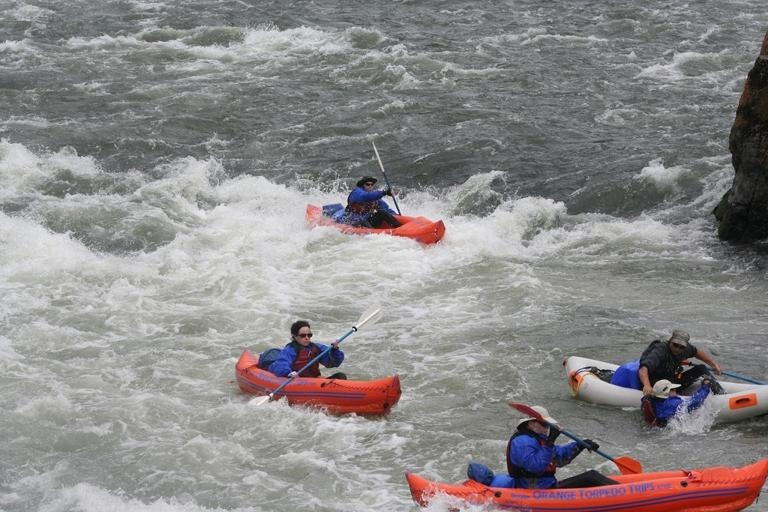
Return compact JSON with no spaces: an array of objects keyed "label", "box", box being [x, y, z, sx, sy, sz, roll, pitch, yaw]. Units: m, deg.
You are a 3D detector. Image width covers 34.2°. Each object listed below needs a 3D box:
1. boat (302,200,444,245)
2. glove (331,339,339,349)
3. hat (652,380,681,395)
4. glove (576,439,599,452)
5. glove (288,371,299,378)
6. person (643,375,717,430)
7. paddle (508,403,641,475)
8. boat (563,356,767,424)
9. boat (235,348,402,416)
[{"label":"boat","box":[-0.597,-0.824,36.670,4.785,0.808,1.232,9,36,16]},{"label":"glove","box":[-1.197,2.135,30.639,0.218,0.177,0.059,31,-11,-10]},{"label":"hat","box":[6.520,3.044,29.117,0.620,0.180,0.327,-12,6,-5]},{"label":"glove","box":[4.527,4.146,27.749,0.515,0.235,0.185,17,48,32]},{"label":"glove","box":[-2.186,2.842,30.329,0.171,0.046,0.135,3,35,23]},{"label":"person","box":[6.855,3.337,29.299,1.611,0.656,1.201,-18,19,-15]},{"label":"paddle","box":[4.341,4.183,28.425,4.631,0.557,0.279,20,-3,-7]},{"label":"boat","box":[6.739,3.162,29.757,4.264,0.748,1.578,4,8,16]},{"label":"boat","box":[-1.524,3.043,30.464,3.559,0.783,1.392,6,10,13]}]
